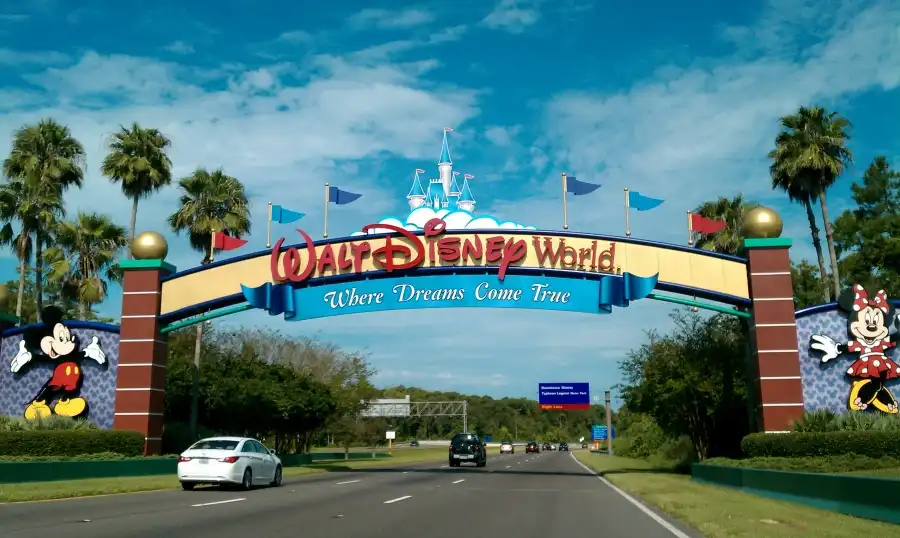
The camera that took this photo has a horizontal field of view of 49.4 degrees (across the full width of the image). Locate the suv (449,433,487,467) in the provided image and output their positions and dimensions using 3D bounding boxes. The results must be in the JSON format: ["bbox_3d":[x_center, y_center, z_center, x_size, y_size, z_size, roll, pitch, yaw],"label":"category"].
[{"bbox_3d":[1.335,12.584,68.526,1.681,1.496,3.036,0,-4,10],"label":"suv"}]
